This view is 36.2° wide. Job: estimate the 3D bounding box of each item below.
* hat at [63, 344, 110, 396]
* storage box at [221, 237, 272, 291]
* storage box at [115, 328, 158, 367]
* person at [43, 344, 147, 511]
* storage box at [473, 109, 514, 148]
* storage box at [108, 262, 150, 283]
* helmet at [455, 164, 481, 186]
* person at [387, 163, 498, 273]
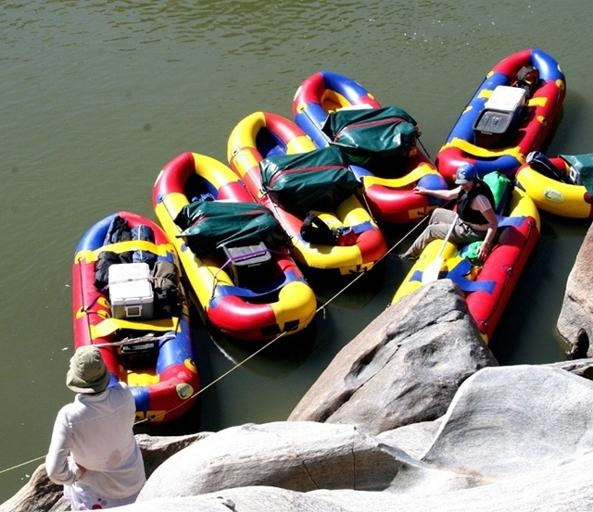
[{"bbox_3d":[-1.559,0.829,6.801,0.390,0.220,0.464,-8,22,-19],"label":"hat"},{"bbox_3d":[-0.626,0.136,10.360,0.540,0.476,0.455,-20,36,-31],"label":"storage box"},{"bbox_3d":[-1.631,0.919,9.639,0.473,0.148,0.555,-19,12,-14],"label":"storage box"},{"bbox_3d":[-1.484,1.353,6.827,0.526,1.203,0.787,16,48,24],"label":"person"},{"bbox_3d":[2.593,-1.722,11.996,0.446,0.235,0.531,17,53,18],"label":"storage box"},{"bbox_3d":[-1.826,0.171,9.759,0.302,0.073,0.265,-7,30,-14],"label":"storage box"},{"bbox_3d":[1.911,-0.897,10.065,0.222,0.147,0.307,-10,-1,30],"label":"helmet"},{"bbox_3d":[1.703,-0.592,10.371,1.237,1.318,1.021,3,62,4],"label":"person"}]
